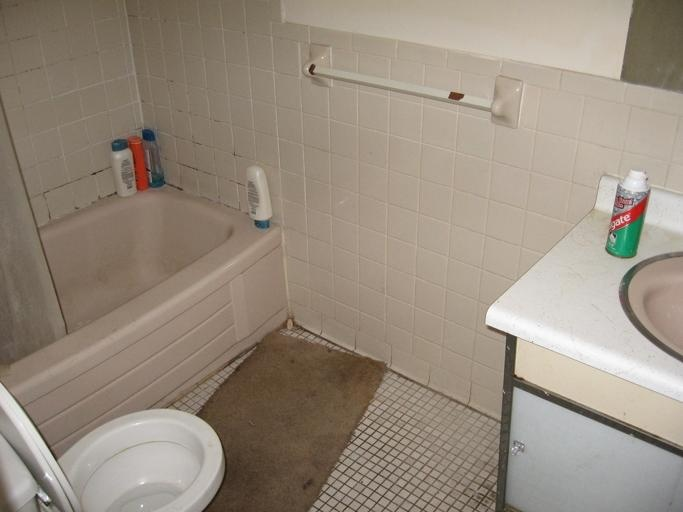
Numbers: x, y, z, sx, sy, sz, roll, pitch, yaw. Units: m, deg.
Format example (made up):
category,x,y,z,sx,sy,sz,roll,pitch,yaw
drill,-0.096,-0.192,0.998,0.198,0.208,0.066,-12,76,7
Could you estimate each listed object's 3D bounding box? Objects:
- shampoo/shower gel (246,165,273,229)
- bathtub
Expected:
category,x,y,z,sx,sy,sz,roll,pitch,yaw
shampoo/shower gel,-0.356,-0.240,2.305,0.099,0.263,0.058,5,31,4
bathtub,-0.846,0.054,2.301,0.689,0.412,1.016,19,34,35
